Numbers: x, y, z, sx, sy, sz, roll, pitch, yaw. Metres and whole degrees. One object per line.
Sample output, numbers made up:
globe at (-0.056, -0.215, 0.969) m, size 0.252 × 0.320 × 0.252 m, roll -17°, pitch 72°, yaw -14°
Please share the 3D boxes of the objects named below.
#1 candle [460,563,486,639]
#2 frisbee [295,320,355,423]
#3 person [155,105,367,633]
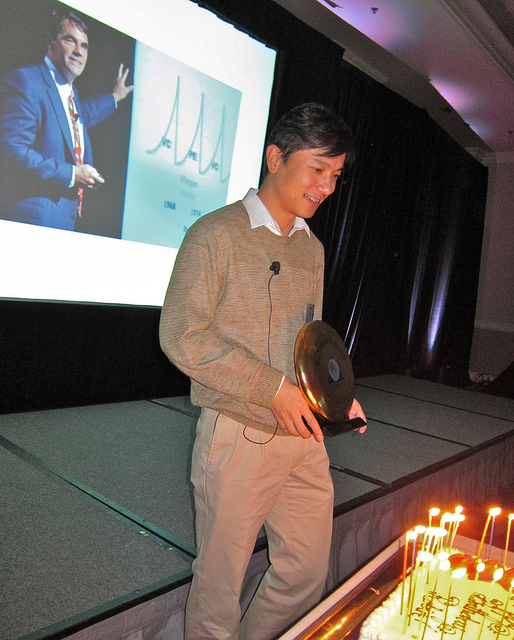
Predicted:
candle at (0.473, 0.617, 0.970) m, size 0.025 × 0.175 × 0.027 m, roll 9°, pitch 14°, yaw -22°
frisbee at (0.138, 0.099, 0.918) m, size 0.181 × 0.196 × 0.041 m, roll 33°, pitch -36°, yaw -30°
person at (0.025, 0.152, 0.971) m, size 0.367 × 1.104 × 0.520 m, roll 4°, pitch 0°, yaw 23°
